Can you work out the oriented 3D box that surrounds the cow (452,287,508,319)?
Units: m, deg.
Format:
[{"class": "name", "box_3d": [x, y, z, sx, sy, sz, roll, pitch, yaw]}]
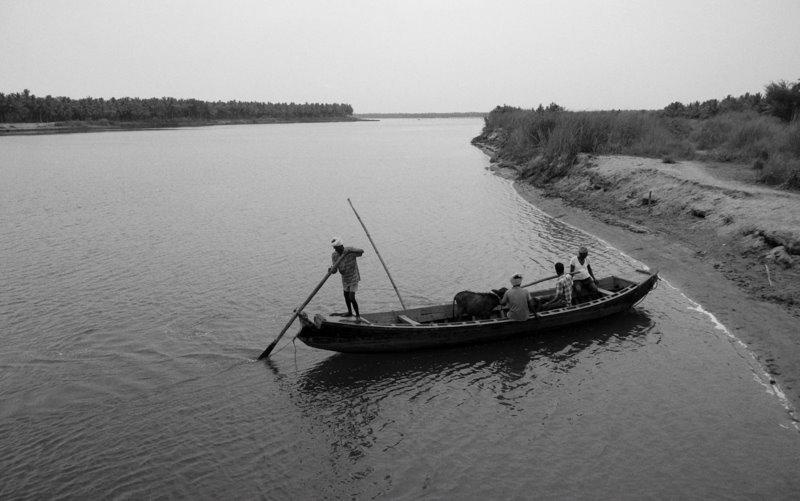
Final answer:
[{"class": "cow", "box_3d": [2.883, 1.941, 21.069, 2.164, 1.262, 0.685, 0, 9, -10]}]

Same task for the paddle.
[{"class": "paddle", "box_3d": [-3.608, 2.135, 22.293, 0.649, 0.633, 4.823, 35, 65, 24]}]
